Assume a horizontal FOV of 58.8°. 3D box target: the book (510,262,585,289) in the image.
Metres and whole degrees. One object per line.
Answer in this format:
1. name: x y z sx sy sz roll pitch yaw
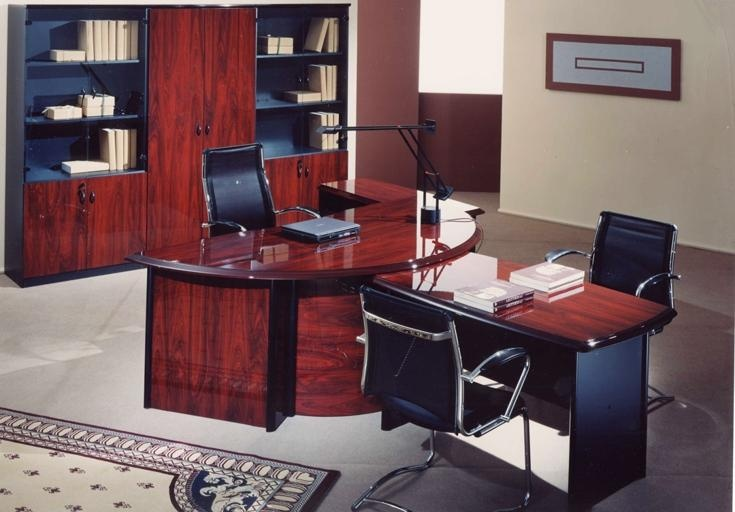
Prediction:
1. book: 0.947 0.108 3.572 0.218 0.049 0.212 -11 15 -36

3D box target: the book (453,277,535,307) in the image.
1. book: 0.665 0.187 3.358 0.199 0.039 0.194 -14 20 -40

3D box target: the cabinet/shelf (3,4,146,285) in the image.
1. cabinet/shelf: -2.507 -0.960 5.610 1.288 2.275 0.411 -8 14 -31
